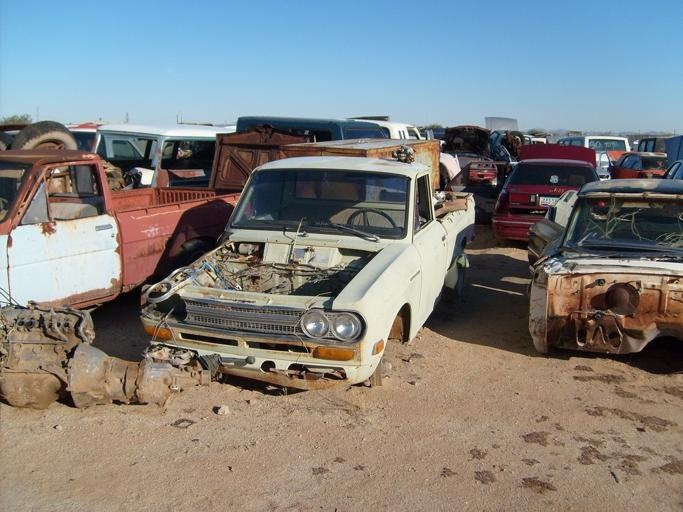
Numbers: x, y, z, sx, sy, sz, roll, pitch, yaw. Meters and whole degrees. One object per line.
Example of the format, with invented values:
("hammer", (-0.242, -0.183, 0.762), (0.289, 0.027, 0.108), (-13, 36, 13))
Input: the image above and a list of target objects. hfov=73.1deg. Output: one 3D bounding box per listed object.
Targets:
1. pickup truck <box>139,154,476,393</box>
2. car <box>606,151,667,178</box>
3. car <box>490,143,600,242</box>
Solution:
("pickup truck", (-0.292, -0.034, 4.666), (2.122, 1.985, 2.648), (7, 13, 20))
("car", (9.428, -2.929, 14.673), (1.583, 0.855, 2.896), (7, 12, 27))
("car", (4.433, -1.500, 10.823), (2.604, 1.558, 3.913), (4, 23, 19))
